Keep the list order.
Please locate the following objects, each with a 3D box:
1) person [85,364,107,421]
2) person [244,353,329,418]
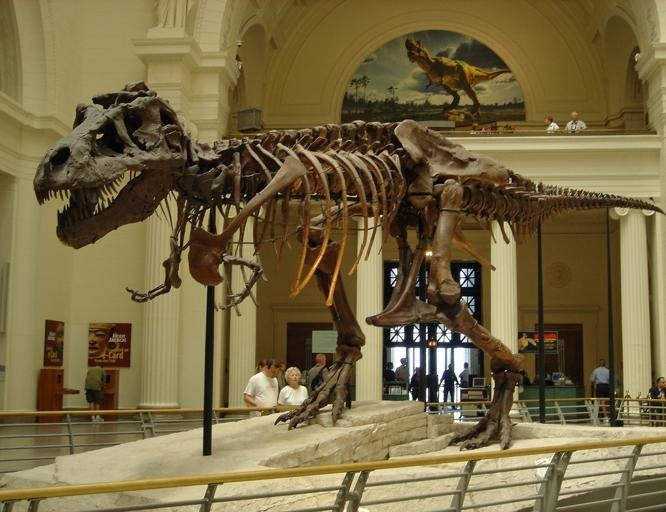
[{"bbox_3d":[-5.102,2.861,13.211,0.401,1.105,2.617,0,-9,-21],"label":"person"},{"bbox_3d":[-0.803,1.662,7.949,0.734,0.503,0.951,2,-20,-12],"label":"person"}]
